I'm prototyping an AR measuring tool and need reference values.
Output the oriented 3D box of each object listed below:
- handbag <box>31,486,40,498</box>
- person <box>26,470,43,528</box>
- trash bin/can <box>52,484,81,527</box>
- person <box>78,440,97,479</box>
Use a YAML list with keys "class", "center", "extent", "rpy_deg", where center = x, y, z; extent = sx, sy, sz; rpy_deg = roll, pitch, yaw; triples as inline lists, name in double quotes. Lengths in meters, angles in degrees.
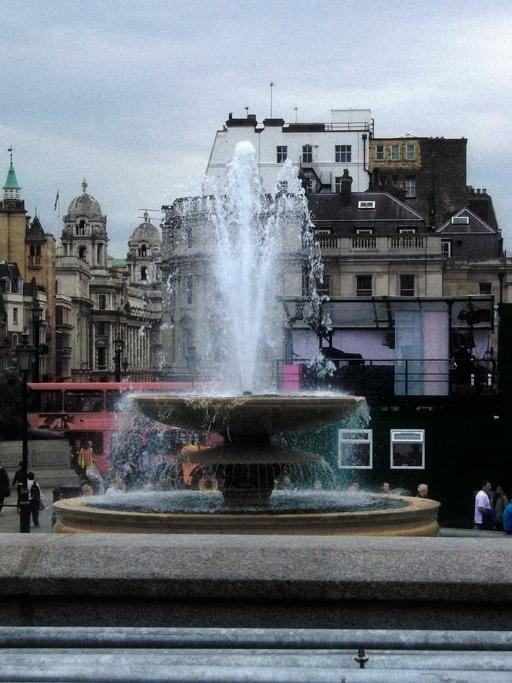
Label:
- class: "handbag"
  center: [-3.476, 2.401, 23.991]
  extent: [0.127, 0.270, 0.153]
  rpy_deg: [-2, 4, -26]
- class: "person"
  center: [-3.516, 2.541, 23.969]
  extent: [0.220, 0.842, 0.261]
  rpy_deg: [-3, 2, -18]
- class: "trash bin/can"
  center: [-2.985, 2.437, 24.035]
  extent: [0.443, 0.268, 1.262]
  rpy_deg: [-3, 5, -8]
- class: "person"
  center: [-3.861, 2.732, 34.657]
  extent: [0.393, 0.706, 1.243]
  rpy_deg: [-2, 4, -7]
